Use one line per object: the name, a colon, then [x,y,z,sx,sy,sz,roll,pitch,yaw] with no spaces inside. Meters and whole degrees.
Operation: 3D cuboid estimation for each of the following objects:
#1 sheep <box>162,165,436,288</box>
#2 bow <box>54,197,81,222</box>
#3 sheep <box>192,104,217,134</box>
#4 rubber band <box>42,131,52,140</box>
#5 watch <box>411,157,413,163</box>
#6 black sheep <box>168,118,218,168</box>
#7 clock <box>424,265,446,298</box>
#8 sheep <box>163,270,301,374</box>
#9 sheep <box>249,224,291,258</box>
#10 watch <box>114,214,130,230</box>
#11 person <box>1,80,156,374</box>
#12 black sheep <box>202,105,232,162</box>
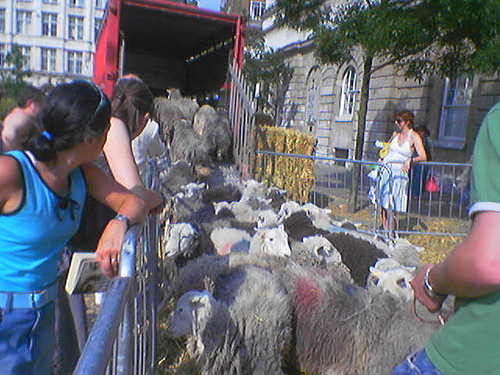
sheep: [0.569,0.416,5.628,1.921,1.273,0.709,6,33,31]
bow: [-1.145,0.130,2.860,0.012,0.105,0.118,-4,4,22]
sheep: [-0.854,-1.249,8.232,0.329,0.609,0.333,5,33,-7]
rubber band: [-1.206,-0.309,2.733,0.009,0.040,0.037,-37,9,-21]
watch: [2.471,-0.417,7.111,0.023,0.062,0.096,6,5,19]
black sheep: [-1.008,-0.756,7.801,0.973,0.703,0.722,12,8,40]
clock: [1.041,0.526,2.616,0.109,0.167,0.099,-6,-10,4]
sheep: [-0.085,0.997,3.702,0.891,0.687,0.688,-17,39,6]
sheep: [0.185,0.510,4.600,0.217,0.315,0.370,-7,1,-32]
watch: [-0.794,0.186,2.861,0.080,0.103,0.063,9,28,2]
person: [-1.137,0.254,2.880,0.716,1.827,0.547,3,5,-11]
black sheep: [-0.584,-0.955,8.079,0.402,0.975,0.481,0,9,-11]
